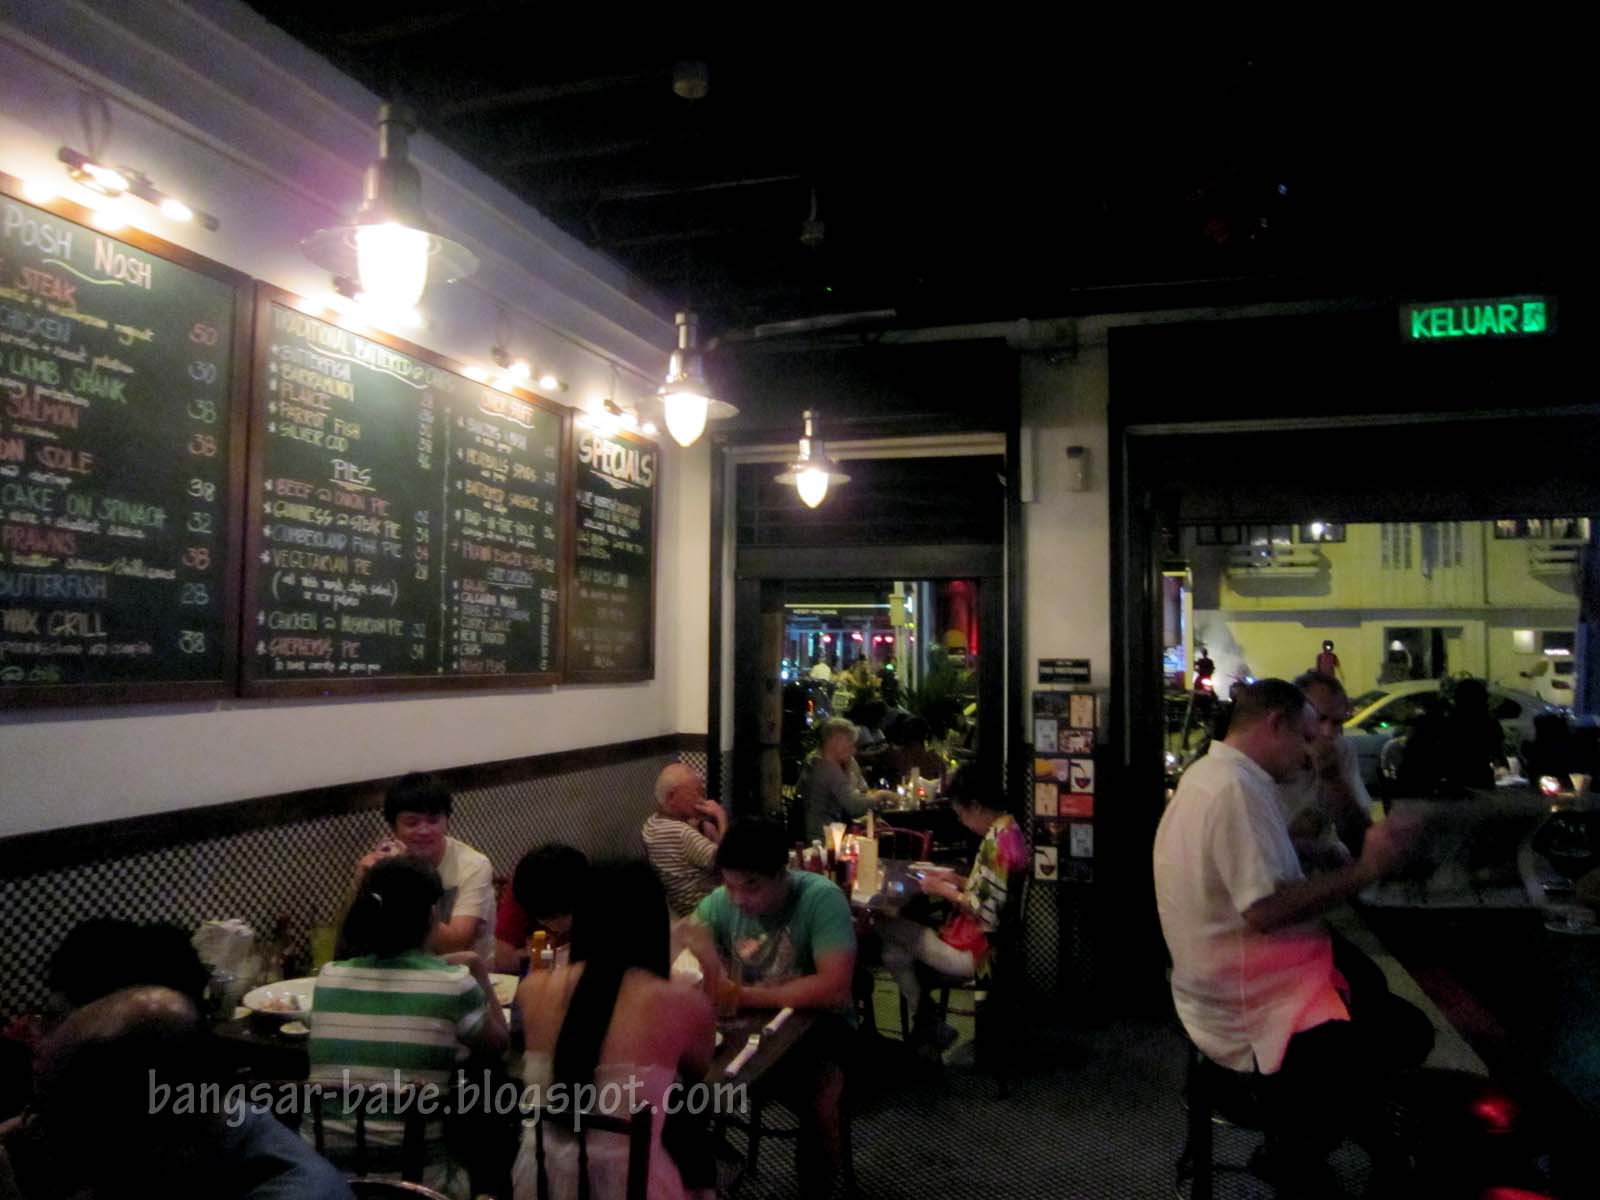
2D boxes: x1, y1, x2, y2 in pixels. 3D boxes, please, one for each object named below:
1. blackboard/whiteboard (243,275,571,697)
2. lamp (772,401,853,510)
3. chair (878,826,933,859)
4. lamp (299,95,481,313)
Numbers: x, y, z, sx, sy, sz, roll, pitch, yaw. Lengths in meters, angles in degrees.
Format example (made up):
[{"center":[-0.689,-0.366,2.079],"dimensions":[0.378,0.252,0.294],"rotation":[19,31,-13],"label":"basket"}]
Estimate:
[{"center":[-1.733,-0.377,5.870],"dimensions":[0.049,1.605,2.079],"rotation":[0,-3,25],"label":"blackboard/whiteboard"},{"center":[0.131,-0.821,7.413],"dimensions":[0.522,0.690,0.540],"rotation":[-1,-5,17],"label":"lamp"},{"center":[0.659,1.538,7.967],"dimensions":[0.258,0.339,0.237],"rotation":[4,-13,-26],"label":"chair"},{"center":[-1.450,-1.451,4.505],"dimensions":[0.440,0.611,0.437],"rotation":[-7,23,-38],"label":"lamp"}]
